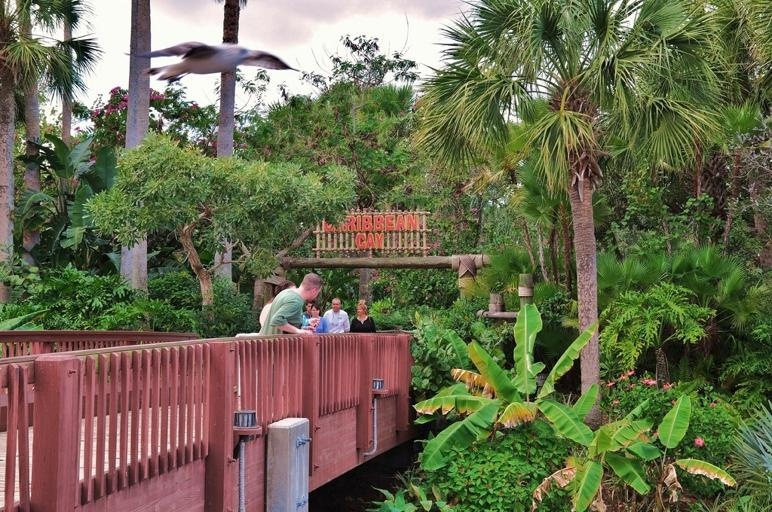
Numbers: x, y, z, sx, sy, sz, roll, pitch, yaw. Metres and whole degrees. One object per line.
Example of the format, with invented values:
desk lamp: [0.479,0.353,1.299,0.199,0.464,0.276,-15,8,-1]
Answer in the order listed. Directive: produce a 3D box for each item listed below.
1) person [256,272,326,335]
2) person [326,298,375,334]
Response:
person: [-1.643,0.883,15.091,1.060,1.071,0.759,-3,3,-6]
person: [-0.889,1.593,22.485,0.928,1.225,0.264,0,-6,-11]
